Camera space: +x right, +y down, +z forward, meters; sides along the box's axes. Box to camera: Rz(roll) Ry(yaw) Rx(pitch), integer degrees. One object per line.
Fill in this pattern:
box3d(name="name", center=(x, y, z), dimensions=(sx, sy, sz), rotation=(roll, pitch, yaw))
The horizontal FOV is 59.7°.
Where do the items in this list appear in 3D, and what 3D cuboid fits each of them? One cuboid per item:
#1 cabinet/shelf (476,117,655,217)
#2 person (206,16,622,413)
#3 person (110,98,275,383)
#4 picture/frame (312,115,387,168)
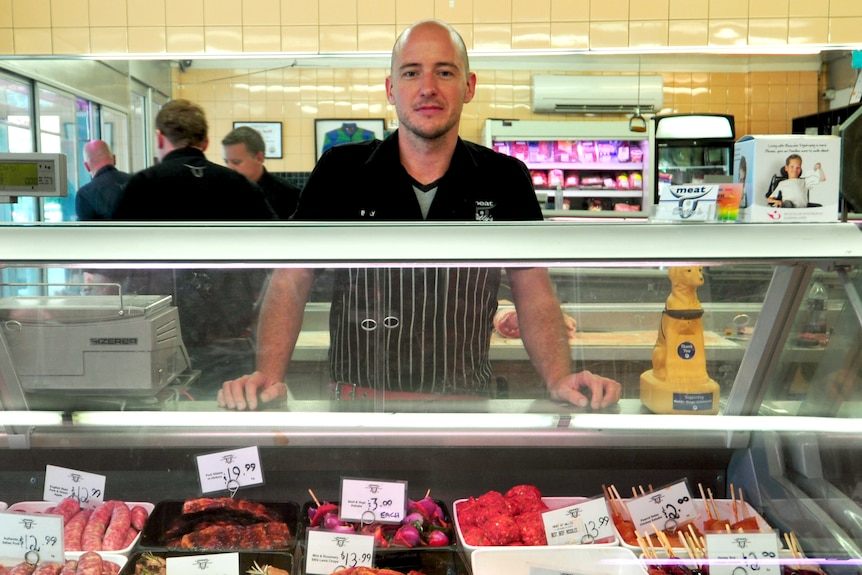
box3d(name="cabinet/shelf", center=(1.406, -1.157, 7.581), dimensions=(1.603, 0.934, 0.557), rotation=(1, 4, 7))
box3d(name="person", center=(-0.045, -0.229, 2.273), dimensions=(1.208, 1.090, 0.568), rotation=(0, 7, -7))
box3d(name="person", center=(-1.142, -0.165, 3.719), dimensions=(0.663, 1.509, 0.463), rotation=(-5, 30, -19))
box3d(name="picture/frame", center=(-0.710, -1.304, 6.616), dimensions=(0.651, 0.361, 0.023), rotation=(-4, 10, -17))
